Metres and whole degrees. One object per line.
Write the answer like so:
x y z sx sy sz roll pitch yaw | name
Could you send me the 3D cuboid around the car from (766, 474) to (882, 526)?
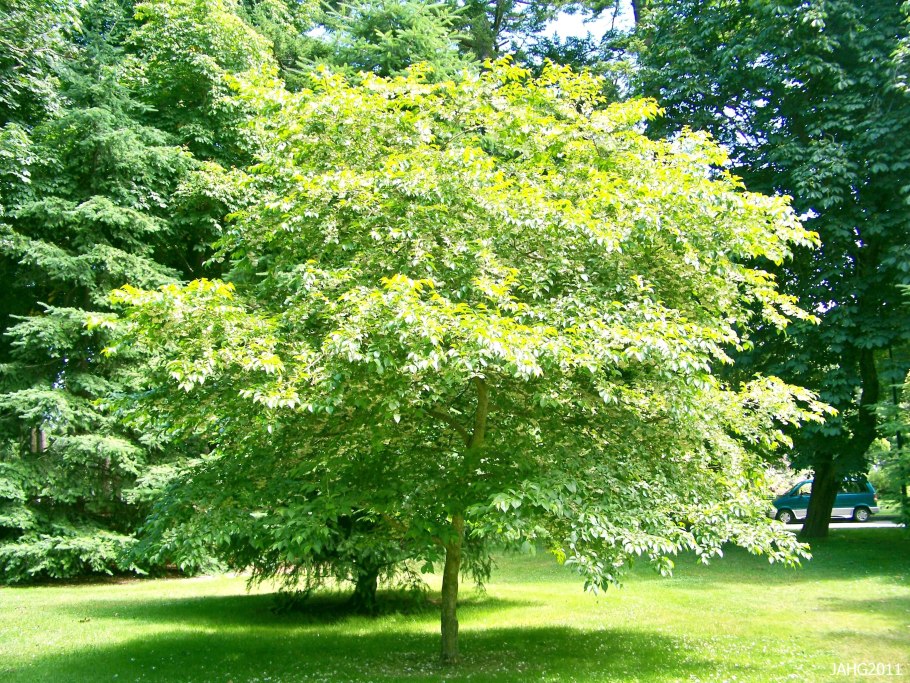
15.030 6.539 32.474 3.630 1.910 5.445 -5 -16 27 | car
